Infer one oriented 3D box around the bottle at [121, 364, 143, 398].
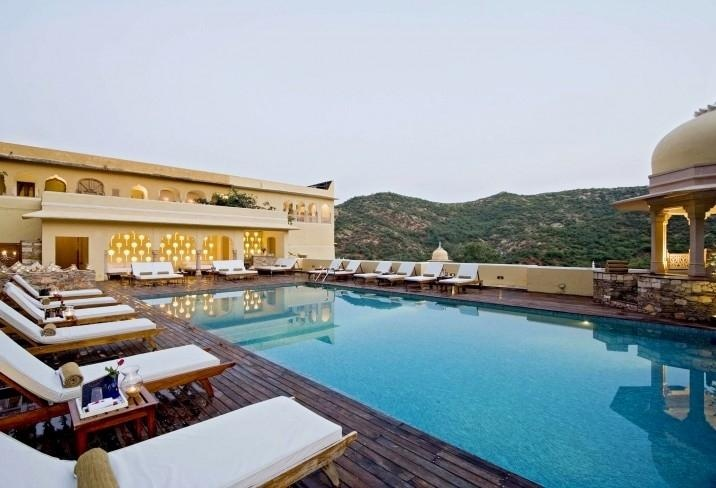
[{"bbox_3d":[-3.500,2.082,5.819,0.368,0.430,0.377,-7,-10,40],"label":"bottle"}]
